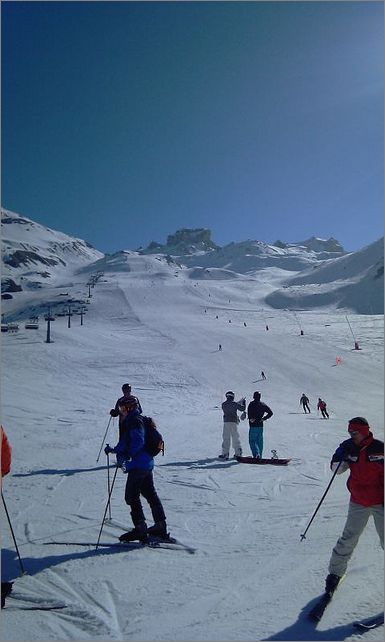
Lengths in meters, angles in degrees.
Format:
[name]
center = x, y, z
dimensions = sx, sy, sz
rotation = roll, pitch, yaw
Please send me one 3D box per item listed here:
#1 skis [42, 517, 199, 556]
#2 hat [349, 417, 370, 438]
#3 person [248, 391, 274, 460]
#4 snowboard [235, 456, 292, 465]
[skis]
center = -0.910, 2.751, 6.735
dimensions = 1.742, 0.242, 0.286
rotation = 0, 28, 8
[hat]
center = 1.755, 1.112, 5.518
dimensions = 0.232, 0.204, 0.184
rotation = 3, -4, -31
[person]
center = 1.465, 2.339, 11.734
dimensions = 0.493, 1.565, 1.120
rotation = 0, -3, 6
[snowboard]
center = 1.540, 3.063, 11.570
dimensions = 1.222, 0.099, 0.634
rotation = 0, -3, 8
